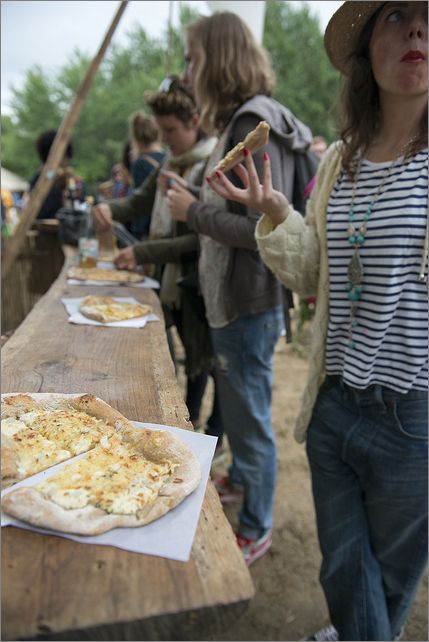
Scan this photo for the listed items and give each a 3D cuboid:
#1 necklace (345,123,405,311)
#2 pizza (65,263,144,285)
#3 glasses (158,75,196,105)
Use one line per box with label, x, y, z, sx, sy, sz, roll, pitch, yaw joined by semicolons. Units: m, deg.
necklace;0.376;-0.213;1.178;0.098;0.358;0.030;7;-7;29
pizza;-0.598;-0.250;2.593;0.301;0.049;0.165;0;17;-19
glasses;-0.195;-1.070;2.237;0.134;0.073;0.171;23;5;-5
